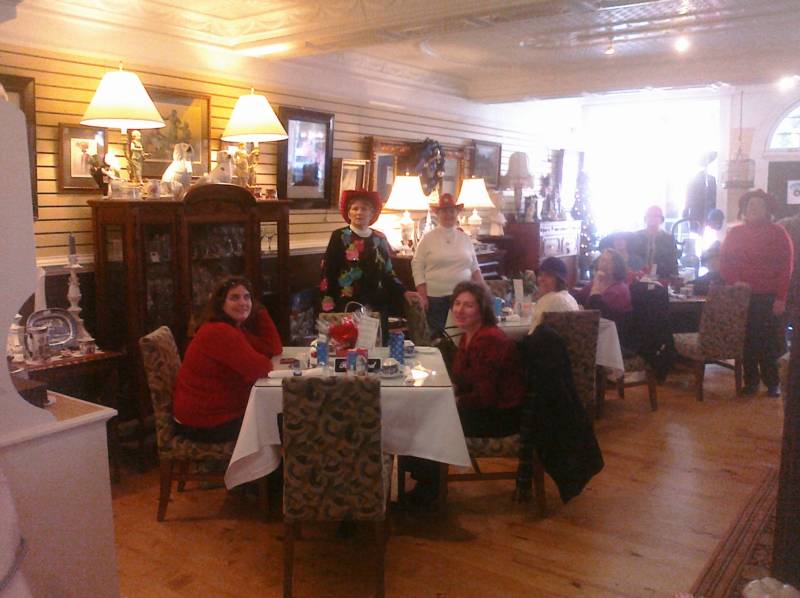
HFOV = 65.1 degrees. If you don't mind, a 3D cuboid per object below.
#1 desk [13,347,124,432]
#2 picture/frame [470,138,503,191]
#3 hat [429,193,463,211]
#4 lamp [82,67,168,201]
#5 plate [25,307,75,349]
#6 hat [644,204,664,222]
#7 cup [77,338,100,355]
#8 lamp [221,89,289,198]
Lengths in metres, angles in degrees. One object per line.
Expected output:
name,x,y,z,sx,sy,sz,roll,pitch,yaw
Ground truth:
desk,-2.234,0.559,4.328,0.768,0.716,0.600,2,2,44
picture/frame,1.234,-1.972,9.238,0.101,0.671,0.803,9,10,37
hat,0.461,-0.910,6.059,0.273,0.123,0.319,0,0,4
lamp,-1.995,-1.238,4.550,0.504,0.747,0.498,-1,9,8
plate,-2.438,0.196,4.443,0.273,0.299,0.100,-13,6,-44
hat,2.910,-0.989,7.214,0.190,0.204,0.193,0,2,15
cup,-2.265,0.347,4.535,0.109,0.134,0.136,2,1,11
lamp,-1.268,-1.411,5.475,0.542,0.735,0.526,17,30,25
